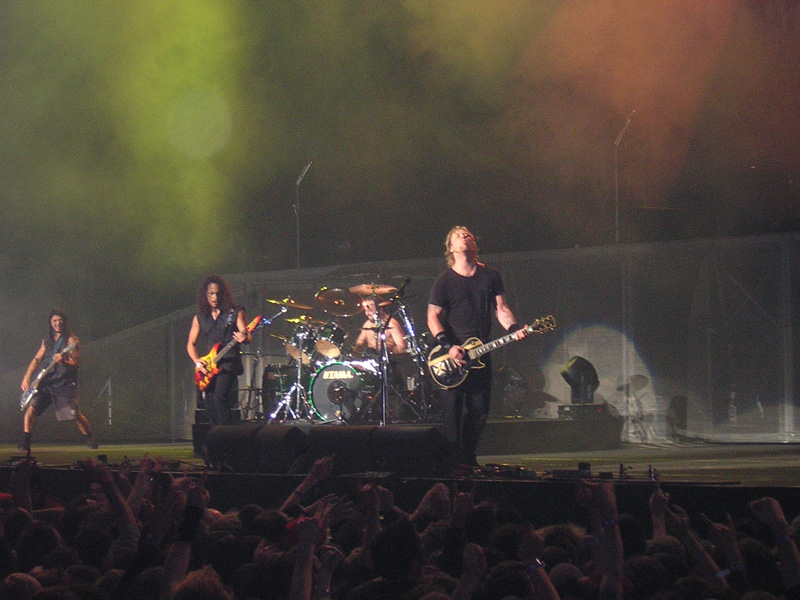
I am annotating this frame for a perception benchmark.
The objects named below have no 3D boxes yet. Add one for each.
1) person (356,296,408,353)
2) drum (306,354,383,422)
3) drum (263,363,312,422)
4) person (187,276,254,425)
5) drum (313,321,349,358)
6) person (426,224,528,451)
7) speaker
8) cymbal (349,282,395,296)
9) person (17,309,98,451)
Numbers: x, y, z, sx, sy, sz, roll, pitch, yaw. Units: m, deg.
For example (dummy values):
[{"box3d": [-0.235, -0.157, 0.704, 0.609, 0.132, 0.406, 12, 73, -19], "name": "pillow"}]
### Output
[{"box3d": [-0.305, 0.338, 13.334, 0.479, 0.754, 0.469, 4, 0, 43], "name": "person"}, {"box3d": [-0.647, 1.030, 12.924, 0.736, 0.745, 0.647, -2, 1, 12], "name": "drum"}, {"box3d": [-1.369, 1.103, 13.219, 0.493, 0.712, 0.468, -1, 1, 0], "name": "drum"}, {"box3d": [-1.905, 0.442, 11.477, 0.636, 1.778, 0.537, 0, 3, 8], "name": "person"}, {"box3d": [-0.826, 0.468, 13.380, 0.418, 0.386, 0.406, 3, -48, 19], "name": "drum"}, {"box3d": [0.659, 0.257, 10.011, 0.781, 2.207, 0.716, 2, 3, 7], "name": "person"}, {"box3d": [-0.549, 1.308, 9.790, 1.498, 0.363, 0.534, -3, -9, 19], "name": "speaker"}, {"box3d": [-0.331, -0.149, 13.426, 0.572, 0.182, 0.291, 0, -12, -4], "name": "cymbal"}, {"box3d": [-4.112, 0.998, 13.165, 0.928, 1.593, 0.848, 1, -1, -12], "name": "person"}]
